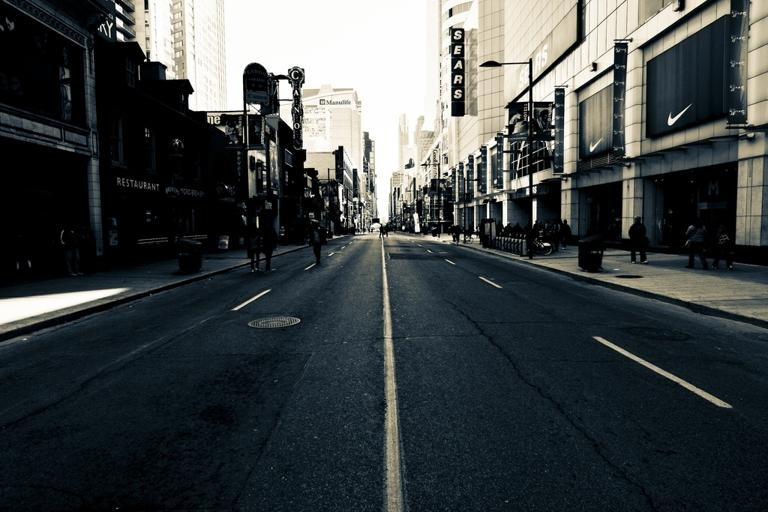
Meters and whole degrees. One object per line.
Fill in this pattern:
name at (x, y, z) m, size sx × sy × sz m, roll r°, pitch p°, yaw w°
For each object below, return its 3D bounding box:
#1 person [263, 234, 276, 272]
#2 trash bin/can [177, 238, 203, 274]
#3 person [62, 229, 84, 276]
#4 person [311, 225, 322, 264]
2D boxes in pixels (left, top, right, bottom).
person at (-5.317, -0.142, 32.096) m, size 0.467 × 1.995 × 1.453 m, roll 0°, pitch 7°, yaw 10°
trash bin/can at (-8.263, 0.008, 29.568) m, size 0.922 × 1.420 × 0.745 m, roll -5°, pitch 4°, yaw -30°
person at (-12.641, -0.161, 28.006) m, size 0.649 × 1.949 × 0.796 m, roll -4°, pitch 4°, yaw -24°
person at (-3.312, -0.556, 35.049) m, size 0.466 × 1.821 × 1.273 m, roll -3°, pitch 4°, yaw -5°
